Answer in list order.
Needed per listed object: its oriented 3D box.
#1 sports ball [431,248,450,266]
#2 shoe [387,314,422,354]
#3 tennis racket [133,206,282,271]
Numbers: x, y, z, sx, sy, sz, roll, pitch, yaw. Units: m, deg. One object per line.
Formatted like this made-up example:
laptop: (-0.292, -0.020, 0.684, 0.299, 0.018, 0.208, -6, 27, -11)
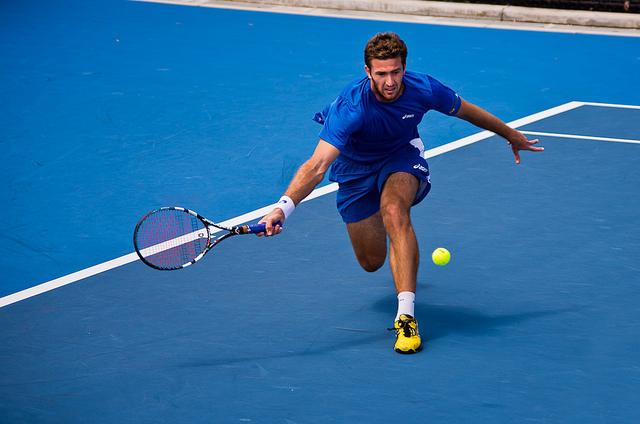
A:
sports ball: (1.180, 0.446, 6.202, 0.206, 0.149, 0.177, 2, 0, 7)
shoe: (0.723, 0.996, 5.360, 0.289, 0.184, 0.458, -2, 25, 1)
tennis racket: (-0.975, 0.194, 6.238, 2.355, 0.594, 0.155, -7, -1, 33)
